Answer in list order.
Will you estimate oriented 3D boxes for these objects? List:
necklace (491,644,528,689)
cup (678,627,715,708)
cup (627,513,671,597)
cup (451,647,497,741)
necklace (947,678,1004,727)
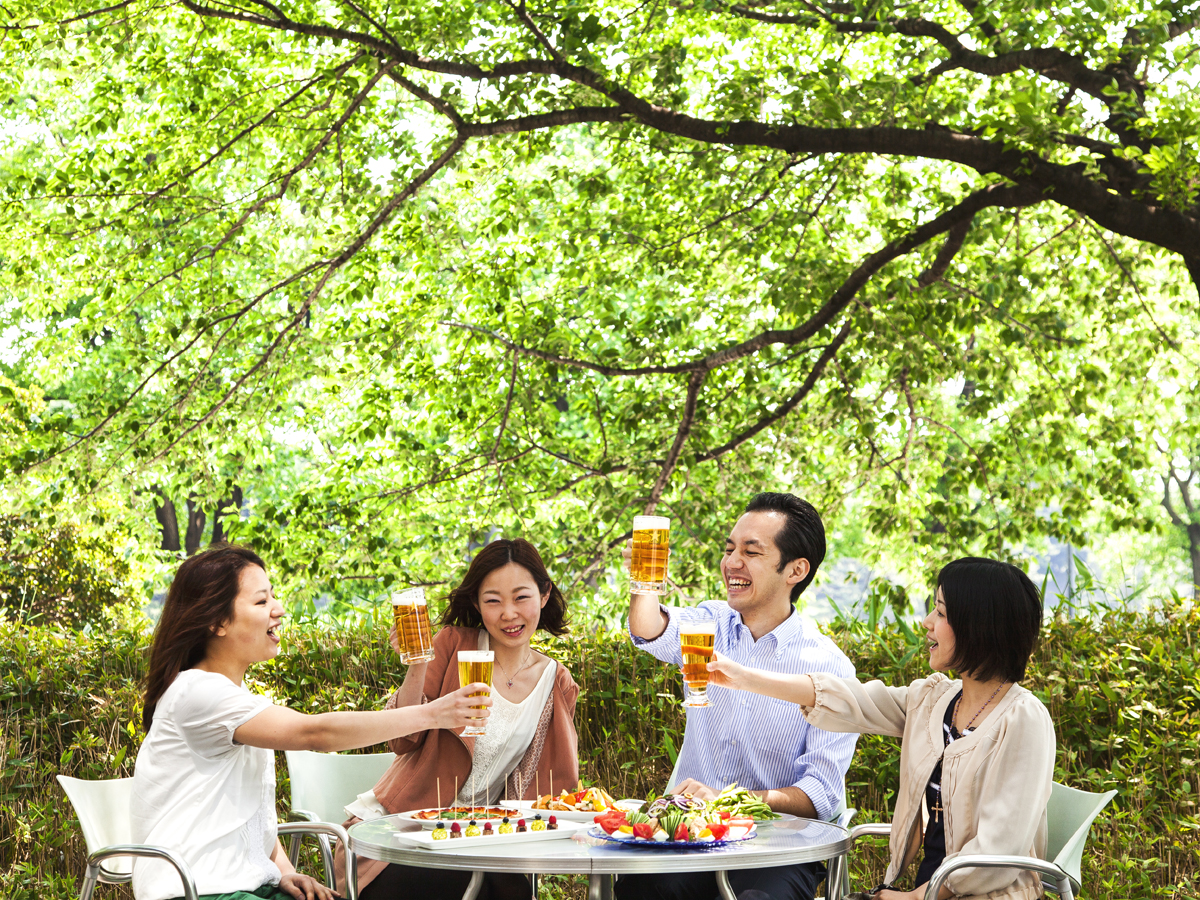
[{"bbox_3d":[-0.381,0.934,4.588,0.139,0.149,0.152,-1,-7,8],"label":"necklace"},{"bbox_3d":[0.350,0.788,3.896,0.118,0.283,0.281,3,-15,6],"label":"cup"},{"bbox_3d":[0.193,0.383,4.125,0.141,0.301,0.301,4,-15,1],"label":"cup"},{"bbox_3d":[-0.455,0.864,3.871,0.120,0.301,0.265,5,-15,-4],"label":"cup"},{"bbox_3d":[1.424,0.956,4.045,0.103,0.215,0.155,34,-3,-3],"label":"necklace"}]
